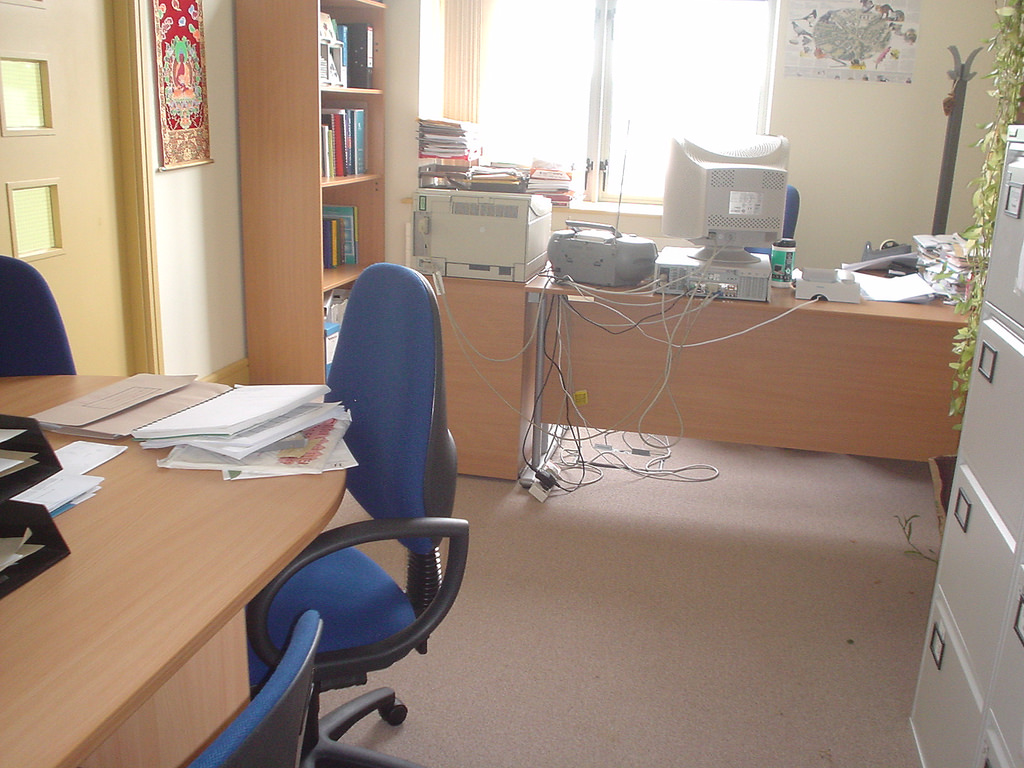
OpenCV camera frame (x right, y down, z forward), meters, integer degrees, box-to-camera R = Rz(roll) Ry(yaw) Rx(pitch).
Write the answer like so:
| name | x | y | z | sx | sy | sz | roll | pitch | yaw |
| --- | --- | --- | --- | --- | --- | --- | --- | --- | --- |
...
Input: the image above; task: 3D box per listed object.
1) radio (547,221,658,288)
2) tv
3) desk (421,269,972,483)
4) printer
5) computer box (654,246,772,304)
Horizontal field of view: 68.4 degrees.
| name | x | y | z | sx | sy | sz | roll | pitch | yaw |
| --- | --- | --- | --- | --- | --- | --- | --- | --- | --- |
| radio | 0.387 | -0.599 | 3.341 | 0.505 | 0.270 | 0.285 | 14 | 23 | 30 |
| tv | 0.871 | -0.789 | 3.104 | 0.475 | 0.434 | 0.244 | 4 | 19 | 6 |
| desk | 0.895 | -0.443 | 3.272 | 2.608 | 1.230 | 0.774 | 2 | 14 | 12 |
| printer | -0.169 | -0.658 | 3.289 | 0.525 | 0.416 | 0.386 | 10 | 18 | 17 |
| computer box | 0.819 | -0.487 | 3.091 | 0.498 | 0.213 | 0.352 | 11 | 18 | 15 |
